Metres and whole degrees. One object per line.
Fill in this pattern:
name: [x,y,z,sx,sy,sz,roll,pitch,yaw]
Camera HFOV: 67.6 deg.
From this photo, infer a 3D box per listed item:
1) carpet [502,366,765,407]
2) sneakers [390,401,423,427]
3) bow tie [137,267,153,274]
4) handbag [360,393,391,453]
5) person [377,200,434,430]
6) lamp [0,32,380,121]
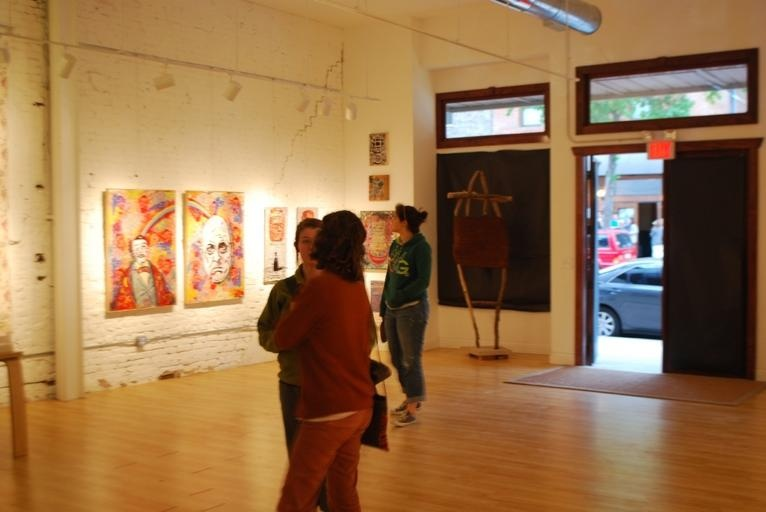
carpet: [3.271,1.608,7.253,2.757,0.065,1.288,2,6,22]
sneakers: [0.237,1.654,5.961,0.142,0.135,0.356,-1,-7,25]
bow tie: [-3.055,0.178,7.375,0.027,0.075,0.153,4,7,42]
handbag: [-0.012,0.951,3.319,0.265,0.286,0.091,5,6,30]
person: [0.227,0.608,5.787,0.509,2.241,0.528,-1,5,-3]
lamp: [-1.791,-2.412,7.473,5.004,0.528,1.884,-6,7,-42]
